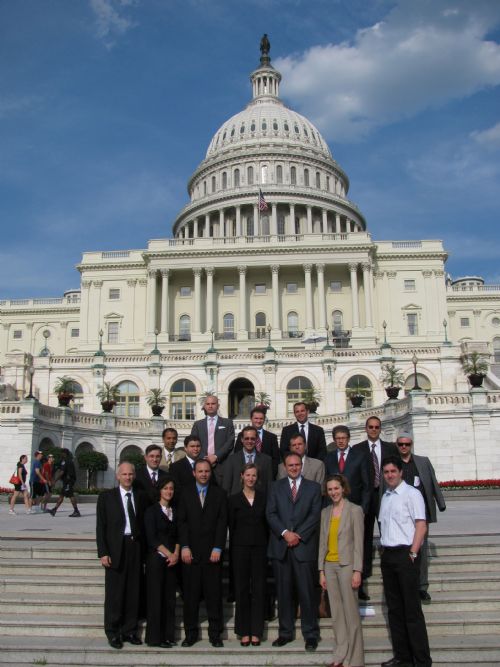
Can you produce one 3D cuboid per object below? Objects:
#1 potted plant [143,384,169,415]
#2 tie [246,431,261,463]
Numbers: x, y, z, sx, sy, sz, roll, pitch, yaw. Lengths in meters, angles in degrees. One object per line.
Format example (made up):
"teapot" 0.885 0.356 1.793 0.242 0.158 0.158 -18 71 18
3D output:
"potted plant" -6.333 4.234 51.269 1.851 2.151 1.759 7 -12 -38
"tie" 0.052 1.654 11.795 0.321 0.366 0.161 3 -8 2
